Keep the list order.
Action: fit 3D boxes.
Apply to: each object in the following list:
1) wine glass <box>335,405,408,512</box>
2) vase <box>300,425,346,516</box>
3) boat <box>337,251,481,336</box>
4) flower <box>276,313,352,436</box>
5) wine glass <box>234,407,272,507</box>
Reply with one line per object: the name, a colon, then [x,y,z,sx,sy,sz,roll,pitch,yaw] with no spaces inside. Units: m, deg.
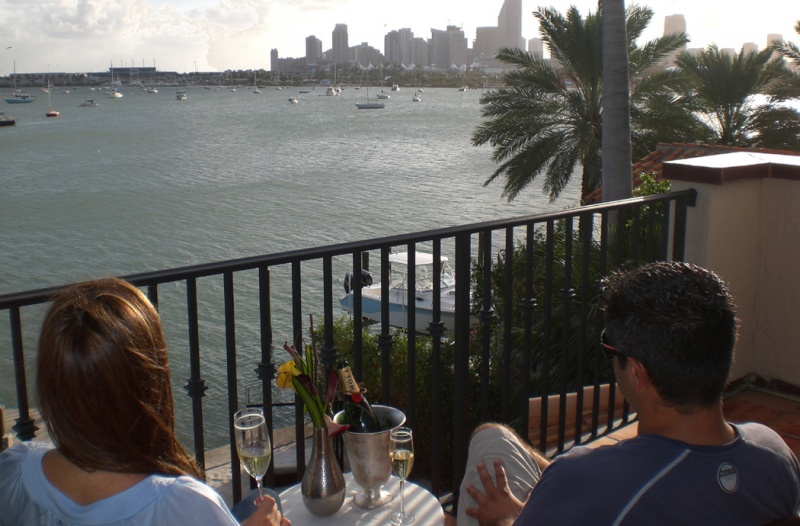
wine glass: [-0.123,0.690,2.719,0.275,0.351,0.313,-4,13,-6]
vase: [-0.285,0.732,2.585,0.163,0.290,0.161,-7,3,-8]
boat: [0.684,0.959,26.621,2.184,2.967,7.549,-14,12,-27]
flower: [-0.330,0.467,2.533,0.262,0.397,0.212,-14,-11,33]
wine glass: [-0.533,0.687,2.574,0.131,0.462,0.148,-11,48,-8]
